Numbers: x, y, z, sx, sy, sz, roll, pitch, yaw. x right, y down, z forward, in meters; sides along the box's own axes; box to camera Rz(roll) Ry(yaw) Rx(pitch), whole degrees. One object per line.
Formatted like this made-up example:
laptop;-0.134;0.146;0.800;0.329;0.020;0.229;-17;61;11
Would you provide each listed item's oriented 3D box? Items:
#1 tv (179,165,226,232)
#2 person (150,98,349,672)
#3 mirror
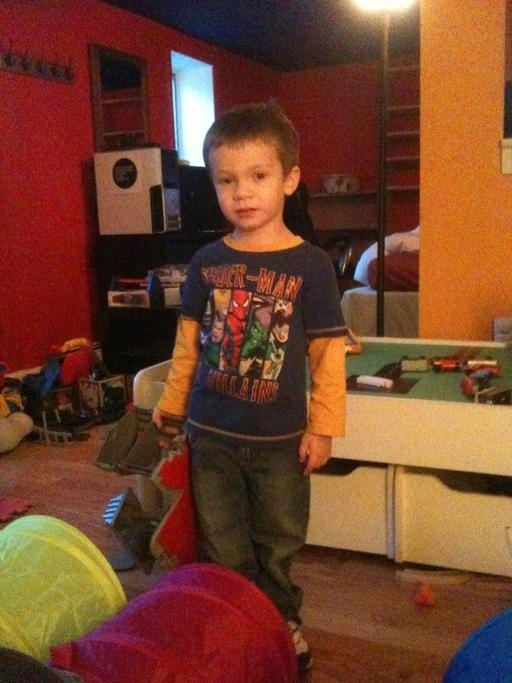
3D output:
tv;-0.319;-0.782;3.204;0.103;0.364;0.420;-1;0;38
person;-0.021;0.067;0.937;0.321;0.887;0.230;-4;7;-4
mirror;-0.740;-1.327;3.239;0.151;0.565;0.471;-1;7;21
